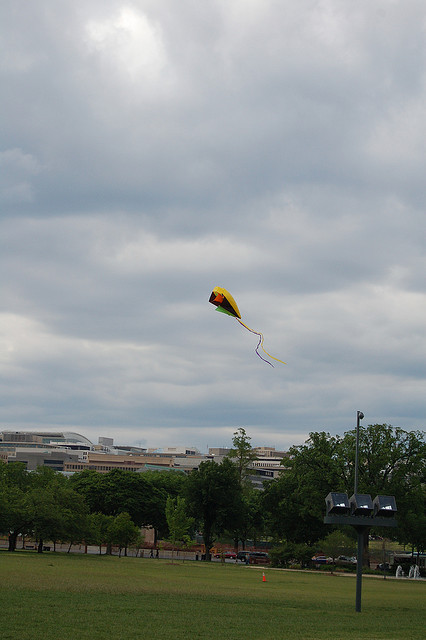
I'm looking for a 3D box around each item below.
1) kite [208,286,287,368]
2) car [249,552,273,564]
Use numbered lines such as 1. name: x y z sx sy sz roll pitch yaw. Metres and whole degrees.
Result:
1. kite: 1.901 0.011 58.004 4.711 1.104 1.093 41 -1 0
2. car: 4.444 23.171 104.761 1.666 0.896 3.973 1 -11 15
